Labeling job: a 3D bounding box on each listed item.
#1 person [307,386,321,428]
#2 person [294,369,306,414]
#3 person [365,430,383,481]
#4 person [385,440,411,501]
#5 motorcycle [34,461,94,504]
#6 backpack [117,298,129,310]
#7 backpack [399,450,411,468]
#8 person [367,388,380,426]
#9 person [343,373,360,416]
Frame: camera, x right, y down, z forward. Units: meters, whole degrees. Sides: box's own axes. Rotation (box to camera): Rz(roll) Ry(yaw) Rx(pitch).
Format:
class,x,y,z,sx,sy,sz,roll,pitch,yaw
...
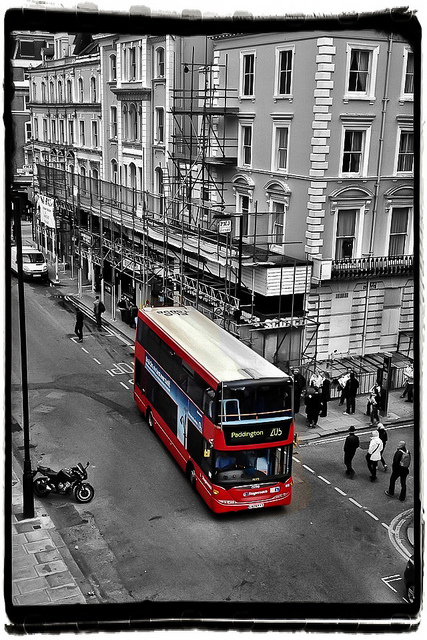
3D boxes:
class,x,y,z,sx,sy,sz,roll,pitch,yaw
person,2.927,2.525,22.233,0.349,1.143,0.793,3,10,9
person,2.606,2.181,23.406,0.278,1.323,0.852,3,10,11
person,3.942,3.342,18.823,0.363,1.371,0.714,4,10,13
person,4.327,3.400,17.966,0.478,1.674,1.454,4,11,14
motorcycle,-3.323,3.665,17.173,1.482,1.149,0.699,4,0,-1
backpack,-4.249,-0.775,36.363,0.477,0.282,0.712,0,9,-3
backpack,4.349,3.148,17.451,0.224,0.343,0.330,0,5,-8
person,4.764,2.544,22.652,0.240,1.032,0.497,4,10,14
person,4.209,2.231,23.474,0.419,1.279,0.585,4,10,11
